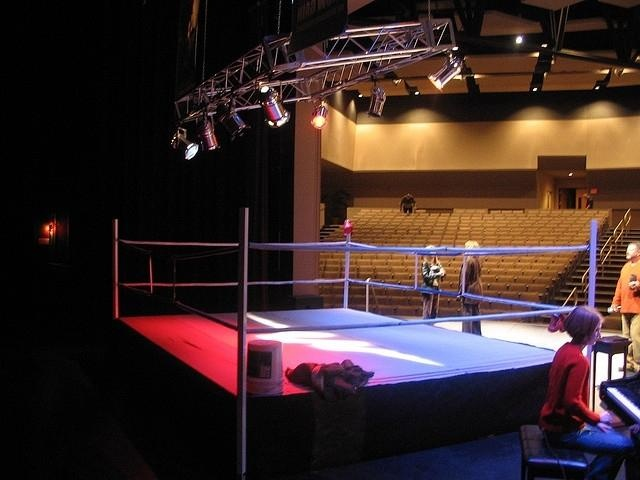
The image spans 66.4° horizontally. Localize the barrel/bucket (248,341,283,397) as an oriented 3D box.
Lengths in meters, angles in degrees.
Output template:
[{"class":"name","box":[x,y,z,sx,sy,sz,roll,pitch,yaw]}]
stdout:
[{"class":"barrel/bucket","box":[-0.350,0.812,3.124,0.275,0.317,0.283,0,-5,0]}]
